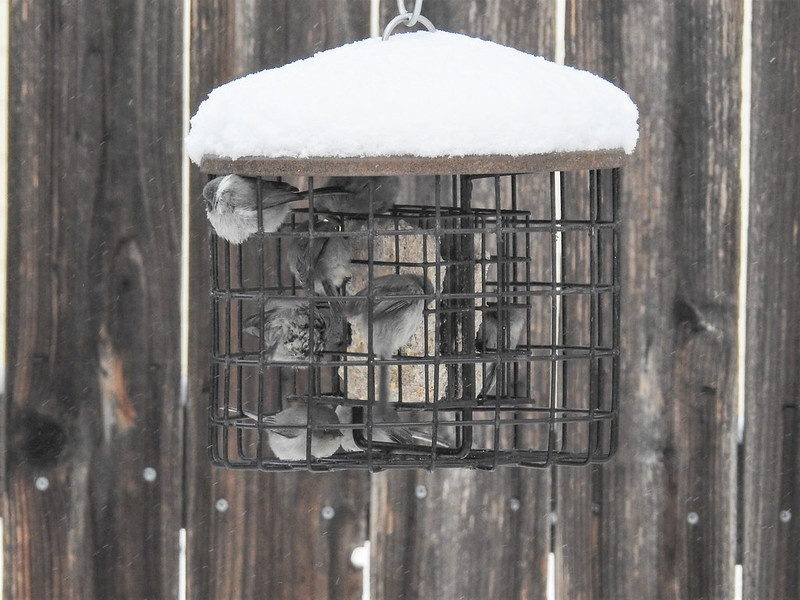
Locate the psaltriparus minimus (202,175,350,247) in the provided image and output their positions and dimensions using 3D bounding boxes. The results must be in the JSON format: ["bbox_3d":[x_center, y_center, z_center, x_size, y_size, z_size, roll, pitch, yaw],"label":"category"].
[{"bbox_3d":[-0.466,-0.341,9.223,0.507,0.316,0.341,-5,6,-42],"label":"psaltriparus minimus"}]

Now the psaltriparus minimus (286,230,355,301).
[{"bbox_3d":[-0.308,-0.109,9.264,0.164,0.273,0.160,3,8,32],"label":"psaltriparus minimus"}]

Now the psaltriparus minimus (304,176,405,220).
[{"bbox_3d":[-0.158,-0.369,9.415,0.309,0.204,0.194,-1,10,-12],"label":"psaltriparus minimus"}]

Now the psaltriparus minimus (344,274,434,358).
[{"bbox_3d":[-0.028,0.076,9.168,0.319,0.365,0.204,6,-12,-28],"label":"psaltriparus minimus"}]

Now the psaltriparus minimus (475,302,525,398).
[{"bbox_3d":[0.372,0.207,9.348,0.141,0.381,0.157,2,3,-8],"label":"psaltriparus minimus"}]
